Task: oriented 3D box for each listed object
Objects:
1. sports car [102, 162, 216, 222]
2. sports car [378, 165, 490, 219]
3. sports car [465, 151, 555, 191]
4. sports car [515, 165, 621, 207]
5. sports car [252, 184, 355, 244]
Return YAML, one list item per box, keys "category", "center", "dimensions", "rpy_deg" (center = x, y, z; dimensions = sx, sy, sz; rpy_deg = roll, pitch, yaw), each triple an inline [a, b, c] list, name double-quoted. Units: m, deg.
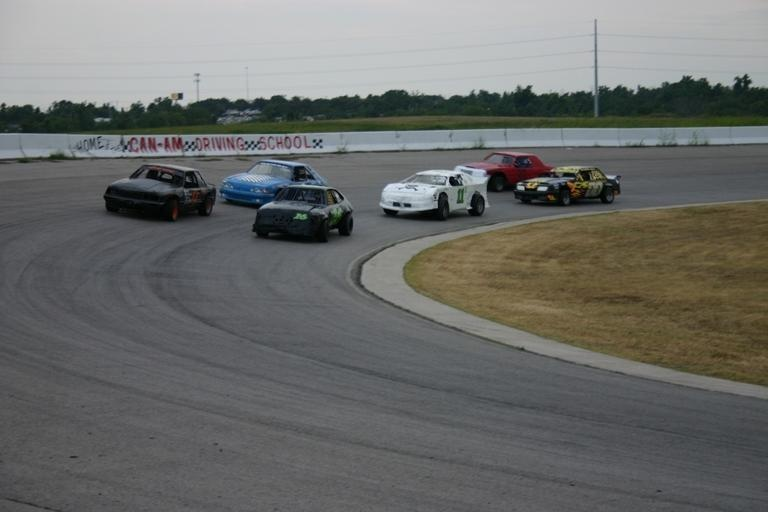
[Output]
- category: "sports car"
  center: [-6.060, -1.763, 20.947]
  dimensions: [1.640, 0.878, 2.631]
  rpy_deg: [19, 10, 18]
- category: "sports car"
  center: [1.738, -2.017, 24.402]
  dimensions: [1.877, 1.006, 2.997]
  rpy_deg: [5, 5, 39]
- category: "sports car"
  center: [4.909, -3.498, 30.000]
  dimensions: [2.863, 1.080, 1.787]
  rpy_deg: [-4, 11, -28]
- category: "sports car"
  center: [7.024, -2.616, 27.919]
  dimensions: [3.074, 0.926, 1.853]
  rpy_deg: [-1, 9, -34]
- category: "sports car"
  center: [-2.101, -1.116, 19.921]
  dimensions: [1.564, 1.420, 2.740]
  rpy_deg: [7, 14, 37]
